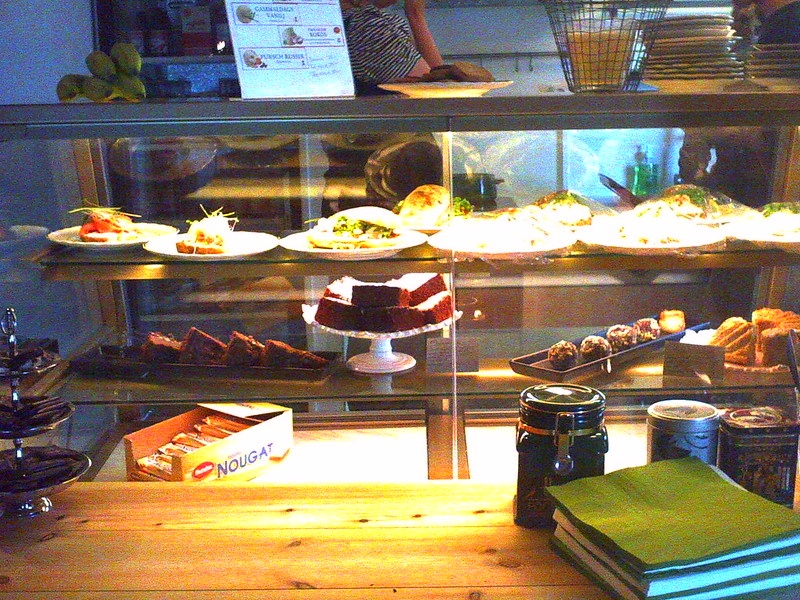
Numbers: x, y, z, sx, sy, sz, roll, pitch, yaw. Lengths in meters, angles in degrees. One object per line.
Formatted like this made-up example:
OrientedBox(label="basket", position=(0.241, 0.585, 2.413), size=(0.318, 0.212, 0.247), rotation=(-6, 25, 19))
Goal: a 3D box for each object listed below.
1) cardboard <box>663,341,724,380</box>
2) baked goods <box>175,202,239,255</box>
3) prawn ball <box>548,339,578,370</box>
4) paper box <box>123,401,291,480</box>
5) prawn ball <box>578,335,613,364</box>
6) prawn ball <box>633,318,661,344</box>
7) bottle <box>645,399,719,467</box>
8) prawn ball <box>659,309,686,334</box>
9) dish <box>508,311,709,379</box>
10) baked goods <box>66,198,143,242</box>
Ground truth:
OrientedBox(label="cardboard", position=(0.700, 0.143, 1.752), size=(0.223, 0.091, 0.006), rotation=(4, -4, -30))
OrientedBox(label="baked goods", position=(-0.449, -0.161, 1.732), size=(0.175, 0.036, 0.129), rotation=(17, 43, 15))
OrientedBox(label="prawn ball", position=(0.389, 0.141, 1.828), size=(0.106, 0.064, 0.078), rotation=(1, 2, 6))
OrientedBox(label="paper box", position=(-0.498, 0.372, 1.917), size=(0.273, 0.094, 0.321), rotation=(10, 22, 34))
OrientedBox(label="prawn ball", position=(0.475, 0.122, 1.793), size=(0.089, 0.044, 0.082), rotation=(-2, 8, 0))
OrientedBox(label="prawn ball", position=(0.608, 0.076, 1.801), size=(0.091, 0.055, 0.024), rotation=(1, -4, -6))
OrientedBox(label="bottle", position=(0.548, 0.257, 1.461), size=(0.192, 0.113, 0.140), rotation=(-2, 8, -2))
OrientedBox(label="prawn ball", position=(0.668, 0.052, 1.800), size=(0.092, 0.051, 0.025), rotation=(-3, 14, 10))
OrientedBox(label="dish", position=(0.558, 0.108, 1.817), size=(0.600, 0.028, 0.154), rotation=(-8, 14, -18))
OrientedBox(label="baked goods", position=(-0.712, -0.199, 1.771), size=(0.166, 0.037, 0.147), rotation=(0, 16, -13))
